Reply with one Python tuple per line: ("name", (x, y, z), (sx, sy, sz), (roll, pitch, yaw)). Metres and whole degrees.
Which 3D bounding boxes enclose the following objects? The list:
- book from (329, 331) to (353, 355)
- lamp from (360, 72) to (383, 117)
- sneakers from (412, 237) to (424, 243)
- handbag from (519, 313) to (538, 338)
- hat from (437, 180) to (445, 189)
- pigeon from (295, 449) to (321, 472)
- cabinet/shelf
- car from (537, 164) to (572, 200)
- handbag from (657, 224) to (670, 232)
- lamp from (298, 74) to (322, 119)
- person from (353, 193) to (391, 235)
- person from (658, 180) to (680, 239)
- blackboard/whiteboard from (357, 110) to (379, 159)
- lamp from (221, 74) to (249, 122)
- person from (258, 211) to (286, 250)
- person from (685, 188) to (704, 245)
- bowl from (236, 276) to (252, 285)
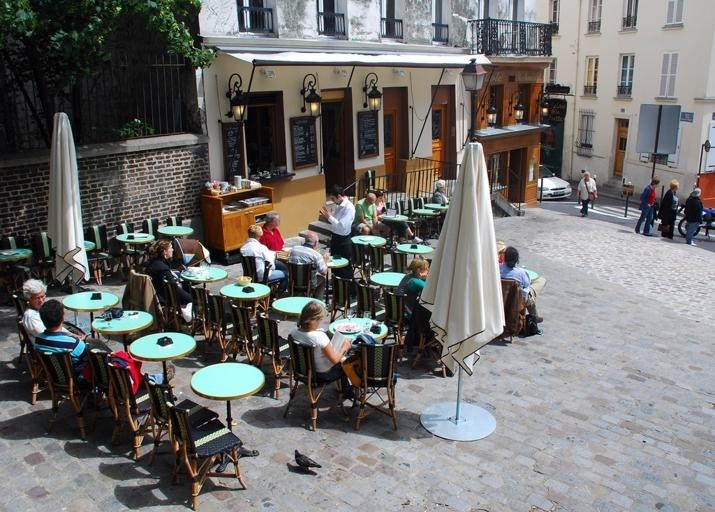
("book", (-0.250, 1.263, 8.122), (0.239, 0.235, 0.286), (23, -9, -30))
("lamp", (0.458, -5.285, 17.891), (0.573, 1.228, 0.934), (-1, 15, 1))
("sneakers", (1.520, -0.375, 14.151), (0.171, 0.198, 0.506), (3, 12, 18))
("handbag", (3.374, 1.372, 10.982), (0.195, 0.445, 0.453), (14, 52, 35))
("hat", (2.628, -2.272, 17.482), (0.367, 0.181, 0.507), (-4, 12, 2))
("pigeon", (-0.637, 2.634, 7.152), (0.335, 0.214, 0.183), (-3, -2, 18))
("cabinet/shelf", (-3.012, -0.701, 13.477), (0.866, 1.563, 1.591), (15, 26, 35))
("car", (11.269, -3.970, 31.941), (1.653, 1.406, 2.973), (4, 16, 17))
("handbag", (11.334, -1.047, 20.540), (0.289, 0.240, 0.225), (-1, 9, 12))
("lamp", (-1.358, -4.645, 16.034), (0.564, 1.244, 1.119), (-3, 15, -5))
("person", (0.402, -1.091, 14.865), (0.910, 1.235, 0.731), (30, 44, 26))
("person", (11.319, -1.531, 20.245), (0.576, 1.870, 0.650), (6, 17, 24))
("blackboard/whiteboard", (0.330, -4.052, 18.178), (0.135, 1.784, 1.395), (9, 15, 39))
("lamp", (-3.144, -4.131, 14.436), (0.556, 1.224, 0.661), (-8, 17, -21))
("person", (-1.970, -0.582, 12.677), (0.515, 0.961, 0.751), (10, 32, 12))
("person", (12.162, -1.427, 20.065), (0.557, 1.993, 0.816), (3, 16, 14))
("bowl", (-2.058, 0.443, 10.084), (0.184, 0.077, 0.182), (-2, 14, 0))
